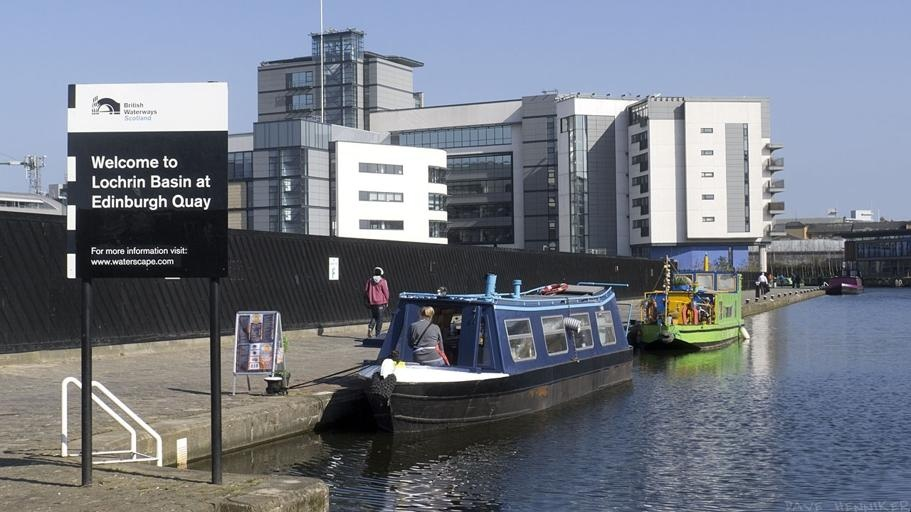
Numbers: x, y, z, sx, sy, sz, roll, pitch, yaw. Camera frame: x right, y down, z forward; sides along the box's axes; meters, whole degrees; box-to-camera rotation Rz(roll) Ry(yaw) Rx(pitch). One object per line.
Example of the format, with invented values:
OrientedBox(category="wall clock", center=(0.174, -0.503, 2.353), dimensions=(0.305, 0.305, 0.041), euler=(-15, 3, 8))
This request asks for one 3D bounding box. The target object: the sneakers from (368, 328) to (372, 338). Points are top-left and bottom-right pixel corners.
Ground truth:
OrientedBox(category="sneakers", center=(-3.292, 2.904, 48.429), dimensions=(0.124, 0.306, 0.140), euler=(2, 13, -10))

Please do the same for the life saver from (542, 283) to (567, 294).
OrientedBox(category="life saver", center=(3.482, 1.139, 44.550), dimensions=(0.660, 0.215, 0.491), euler=(2, -4, -31))

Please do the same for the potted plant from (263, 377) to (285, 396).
OrientedBox(category="potted plant", center=(-5.380, 3.838, 37.720), dimensions=(0.619, 0.460, 0.251), euler=(-4, 2, -7))
